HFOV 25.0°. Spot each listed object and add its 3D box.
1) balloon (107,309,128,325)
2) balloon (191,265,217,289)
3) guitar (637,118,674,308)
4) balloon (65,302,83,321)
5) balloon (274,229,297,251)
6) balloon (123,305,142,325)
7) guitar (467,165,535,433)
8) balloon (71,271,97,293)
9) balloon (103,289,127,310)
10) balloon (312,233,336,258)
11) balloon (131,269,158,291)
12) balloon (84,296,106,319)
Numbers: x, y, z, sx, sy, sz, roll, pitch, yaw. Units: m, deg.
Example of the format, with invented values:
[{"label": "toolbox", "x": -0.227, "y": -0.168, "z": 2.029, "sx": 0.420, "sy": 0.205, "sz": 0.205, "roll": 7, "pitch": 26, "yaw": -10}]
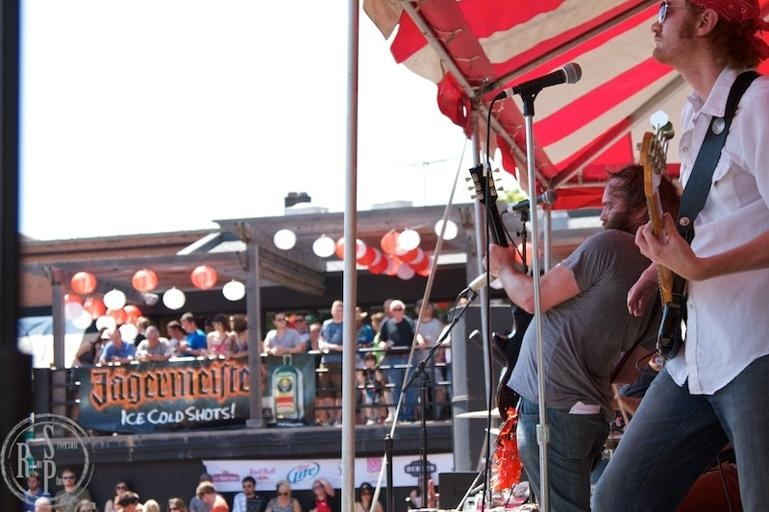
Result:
[{"label": "balloon", "x": -5.484, "y": 1.262, "z": 36.157, "sx": 0.304, "sy": 0.377, "sz": 0.312, "roll": 1, "pitch": -26, "yaw": -13}, {"label": "balloon", "x": -3.707, "y": 0.445, "z": 36.151, "sx": 0.490, "sy": 0.609, "sz": 0.510, "roll": -6, "pitch": -4, "yaw": 41}, {"label": "guitar", "x": 4.153, "y": -0.793, "z": 26.347, "sx": 0.597, "sy": 2.656, "sz": 0.599, "roll": 0, "pitch": 1, "yaw": -2}, {"label": "balloon", "x": -6.415, "y": 1.160, "z": 36.270, "sx": 0.333, "sy": 0.345, "sz": 0.392, "roll": -17, "pitch": -24, "yaw": -9}, {"label": "balloon", "x": -2.021, "y": -0.388, "z": 35.593, "sx": 0.405, "sy": 0.503, "sz": 0.763, "roll": 0, "pitch": -12, "yaw": -6}, {"label": "balloon", "x": -5.228, "y": 1.242, "z": 36.459, "sx": 0.347, "sy": 0.345, "sz": 0.363, "roll": -7, "pitch": 14, "yaw": 17}, {"label": "guitar", "x": 1.964, "y": 0.864, "z": 27.490, "sx": 0.547, "sy": 4.766, "sz": 1.666, "roll": -10, "pitch": 6, "yaw": 15}, {"label": "balloon", "x": -6.228, "y": 0.538, "z": 36.204, "sx": 0.510, "sy": 0.516, "sz": 0.607, "roll": 1, "pitch": -12, "yaw": -11}, {"label": "balloon", "x": -5.561, "y": 0.907, "z": 36.110, "sx": 0.415, "sy": 0.437, "sz": 0.243, "roll": 4, "pitch": 3, "yaw": -11}, {"label": "balloon", "x": -1.250, "y": -0.184, "z": 35.271, "sx": 0.437, "sy": 0.556, "sz": 0.446, "roll": 5, "pitch": 13, "yaw": 28}, {"label": "balloon", "x": -4.941, "y": 0.511, "z": 36.026, "sx": 0.463, "sy": 0.471, "sz": 0.444, "roll": 6, "pitch": -4, "yaw": -40}, {"label": "balloon", "x": -6.066, "y": 1.194, "z": 36.596, "sx": 0.423, "sy": 0.434, "sz": 0.515, "roll": 15, "pitch": 28, "yaw": -20}]
